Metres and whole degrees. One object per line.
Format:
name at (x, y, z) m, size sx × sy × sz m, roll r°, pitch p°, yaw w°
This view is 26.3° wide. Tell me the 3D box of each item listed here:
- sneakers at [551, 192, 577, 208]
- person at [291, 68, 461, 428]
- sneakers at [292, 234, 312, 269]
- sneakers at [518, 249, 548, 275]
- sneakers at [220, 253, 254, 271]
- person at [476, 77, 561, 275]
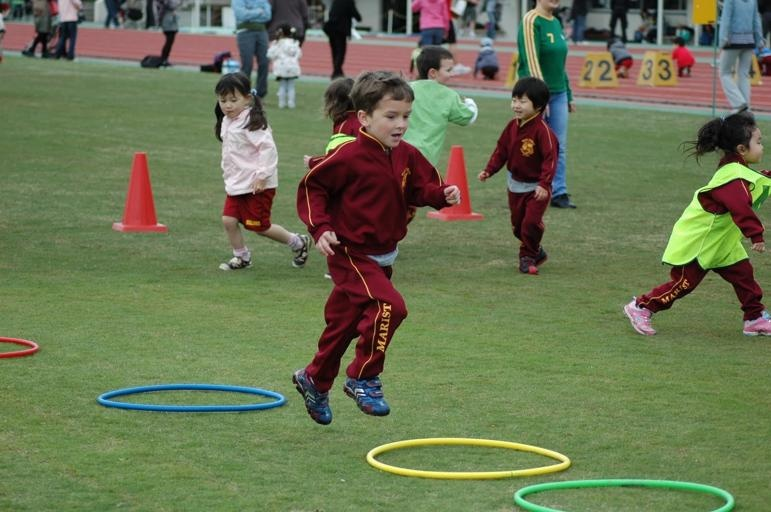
sneakers at (1.895, -0.594, 17.646) m, size 0.334 × 0.129 × 0.113 m, roll 4°, pitch 7°, yaw 39°
person at (-0.138, -0.056, 12.720) m, size 1.111 × 2.748 × 0.462 m, roll 4°, pitch 5°, yaw -3°
sneakers at (-0.749, -0.048, 15.627) m, size 0.134 × 0.316 × 0.175 m, roll 10°, pitch 3°, yaw 38°
sneakers at (1.388, 0.057, 15.554) m, size 0.171 × 0.117 × 0.384 m, roll -15°, pitch 1°, yaw 42°
sneakers at (-1.391, 0.068, 15.482) m, size 0.323 × 0.104 × 0.110 m, roll 0°, pitch 9°, yaw -12°
person at (1.275, -0.770, 15.524) m, size 0.648 × 1.840 × 0.687 m, roll 4°, pitch 5°, yaw -1°
